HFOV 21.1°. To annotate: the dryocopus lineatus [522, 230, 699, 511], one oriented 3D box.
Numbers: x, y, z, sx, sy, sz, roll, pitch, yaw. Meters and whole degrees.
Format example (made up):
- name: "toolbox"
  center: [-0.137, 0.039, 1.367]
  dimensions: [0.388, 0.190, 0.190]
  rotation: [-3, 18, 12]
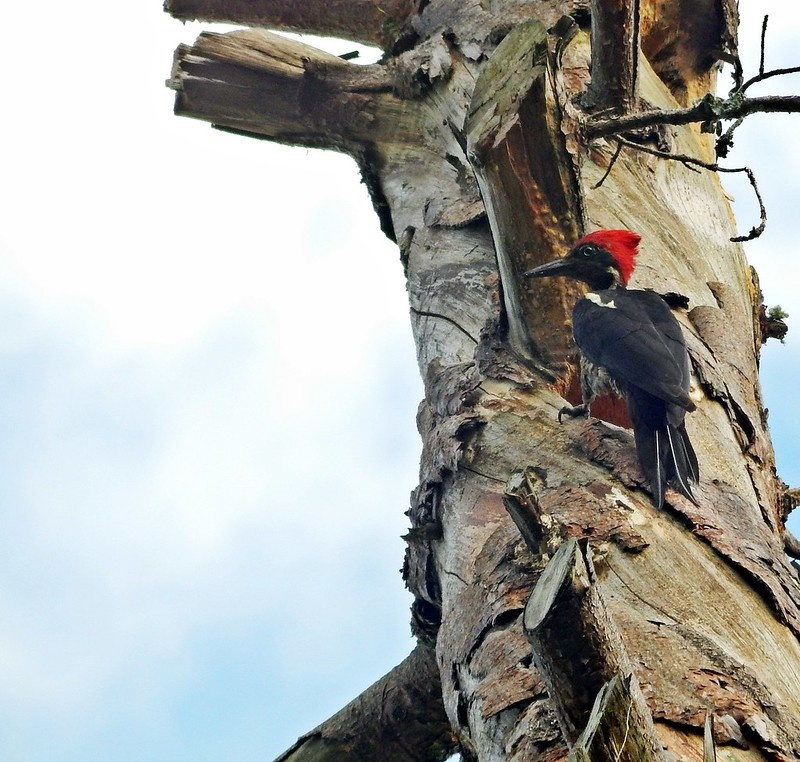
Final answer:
- name: "dryocopus lineatus"
  center: [1.227, -0.108, 11.524]
  dimensions: [0.776, 2.072, 0.594]
  rotation: [-17, -49, 8]
